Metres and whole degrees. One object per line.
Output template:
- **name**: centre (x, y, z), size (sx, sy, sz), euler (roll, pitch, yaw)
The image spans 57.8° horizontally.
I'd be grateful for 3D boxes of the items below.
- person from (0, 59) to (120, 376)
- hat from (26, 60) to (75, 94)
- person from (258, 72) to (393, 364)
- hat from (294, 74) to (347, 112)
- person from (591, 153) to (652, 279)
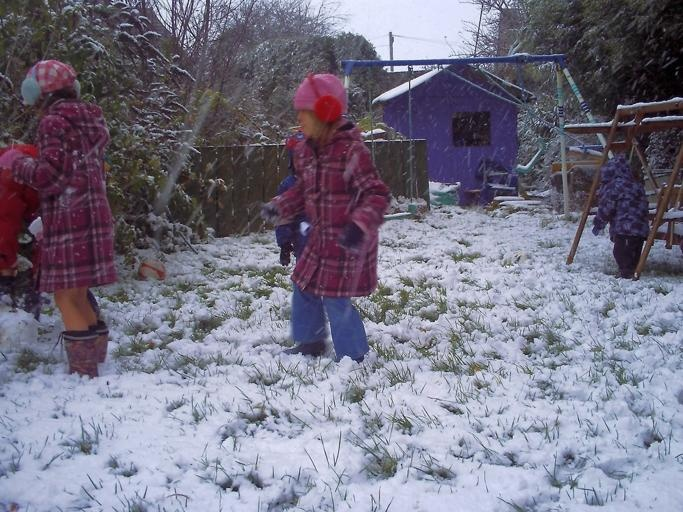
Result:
- **person**: centre (-1.836, -0.245, 4.124), size (0.610, 2.046, 0.450), euler (-4, 12, -23)
- **hat**: centre (-1.854, -1.176, 4.037), size (0.185, 0.217, 0.269), euler (-2, 25, 19)
- **person**: centre (-0.071, -0.243, 4.212), size (0.836, 1.920, 0.493), euler (10, 14, 40)
- **hat**: centre (-0.150, -1.072, 4.109), size (0.259, 0.203, 0.256), euler (2, 2, -26)
- **person**: centre (2.673, -0.406, 5.814), size (0.454, 1.050, 0.797), euler (0, 12, 0)
